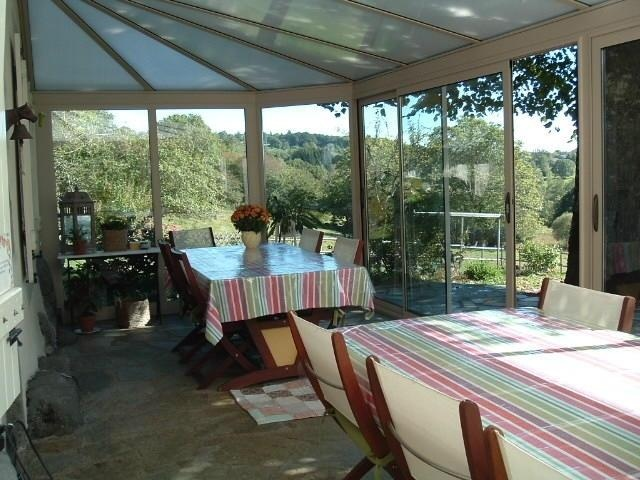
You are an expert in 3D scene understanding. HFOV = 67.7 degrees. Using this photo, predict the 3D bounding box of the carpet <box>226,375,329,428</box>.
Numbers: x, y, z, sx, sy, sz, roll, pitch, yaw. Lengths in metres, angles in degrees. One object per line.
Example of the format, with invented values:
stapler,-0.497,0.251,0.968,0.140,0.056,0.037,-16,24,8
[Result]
carpet,-0.327,1.319,3.900,0.537,0.010,0.542,-3,3,-29

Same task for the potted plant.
potted plant,-2.976,0.504,6.461,1.873,1.307,0.705,-5,13,-29
